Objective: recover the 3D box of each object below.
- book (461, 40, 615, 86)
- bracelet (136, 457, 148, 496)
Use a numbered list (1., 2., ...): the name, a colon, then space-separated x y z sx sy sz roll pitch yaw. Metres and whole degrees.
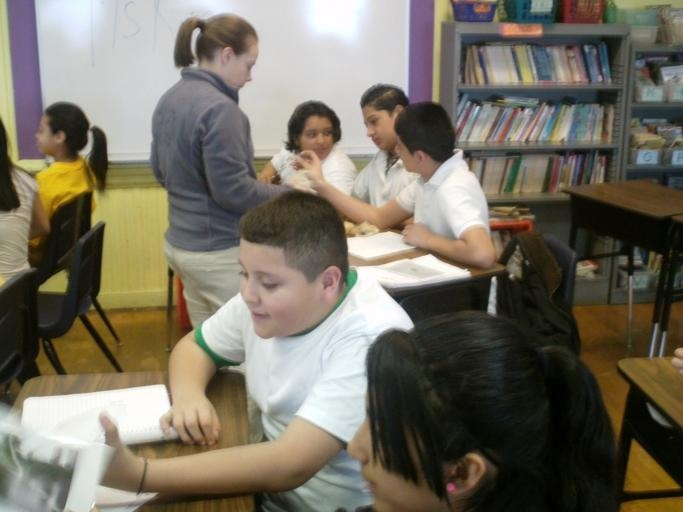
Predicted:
1. book: 1.328 -1.352 3.795 1.060 0.366 0.360 -1 13 -6
2. bracelet: -0.392 0.435 1.064 0.012 0.053 0.054 7 -15 -2
